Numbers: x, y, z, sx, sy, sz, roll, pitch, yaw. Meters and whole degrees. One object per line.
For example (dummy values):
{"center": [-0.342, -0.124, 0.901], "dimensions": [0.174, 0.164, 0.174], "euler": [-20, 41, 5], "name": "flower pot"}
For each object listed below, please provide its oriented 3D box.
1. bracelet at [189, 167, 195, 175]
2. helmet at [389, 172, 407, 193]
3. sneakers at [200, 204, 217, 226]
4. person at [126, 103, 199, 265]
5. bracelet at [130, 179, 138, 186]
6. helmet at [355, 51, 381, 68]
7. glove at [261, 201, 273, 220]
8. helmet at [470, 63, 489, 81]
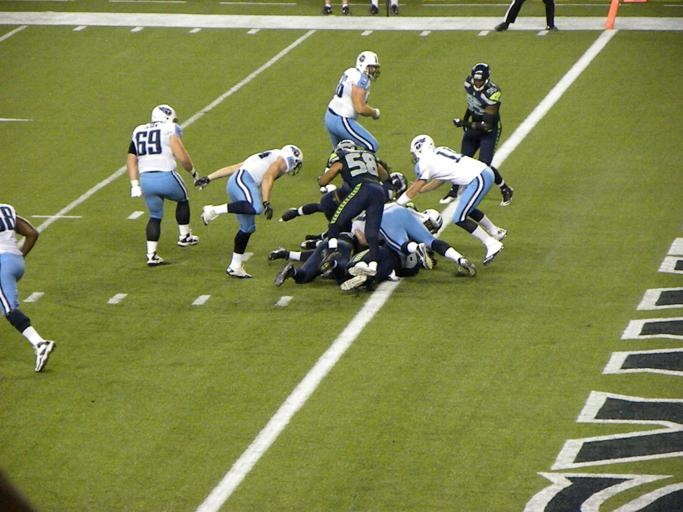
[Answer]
{"center": [-1.898, -1.065, 12.800], "dimensions": [0.057, 0.052, 0.064], "euler": [-4, -15, -3], "name": "bracelet"}
{"center": [0.687, -0.952, 13.248], "dimensions": [0.225, 0.242, 0.260], "euler": [-5, 9, 37], "name": "helmet"}
{"center": [-1.600, -0.490, 12.345], "dimensions": [0.283, 0.240, 0.125], "euler": [10, 21, 15], "name": "sneakers"}
{"center": [-2.276, -0.937, 12.915], "dimensions": [0.849, 1.865, 0.626], "euler": [-2, 21, -10], "name": "person"}
{"center": [-2.634, -0.921, 12.880], "dimensions": [0.077, 0.064, 0.074], "euler": [-5, -7, -22], "name": "bracelet"}
{"center": [0.323, -2.711, 14.107], "dimensions": [0.284, 0.199, 0.277], "euler": [1, 19, -1], "name": "helmet"}
{"center": [-0.899, -0.534, 12.344], "dimensions": [0.095, 0.163, 0.269], "euler": [-16, -17, -10], "name": "glove"}
{"center": [1.828, -2.506, 13.729], "dimensions": [0.217, 0.226, 0.241], "euler": [6, -16, 6], "name": "helmet"}
